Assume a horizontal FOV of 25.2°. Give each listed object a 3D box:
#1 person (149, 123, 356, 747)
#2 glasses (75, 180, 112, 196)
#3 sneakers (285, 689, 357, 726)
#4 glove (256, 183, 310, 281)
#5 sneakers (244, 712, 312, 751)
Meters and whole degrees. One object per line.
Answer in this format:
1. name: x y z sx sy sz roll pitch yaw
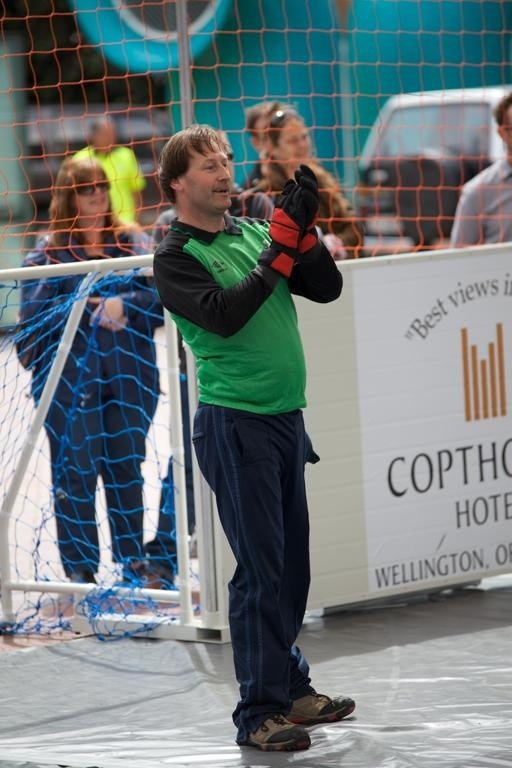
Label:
1. person: 0.008 0.140 3.285 0.518 1.771 0.435 -5 8 -5
2. glasses: -0.654 -0.813 4.708 0.168 0.057 0.064 -11 10 -44
3. sneakers: 0.183 0.963 3.427 0.219 0.095 0.078 -8 0 -2
4. glove: 0.072 -0.422 3.102 0.160 0.250 0.079 -6 8 -9
5. sneakers: 0.048 0.988 3.249 0.192 0.085 0.082 -13 -18 30
